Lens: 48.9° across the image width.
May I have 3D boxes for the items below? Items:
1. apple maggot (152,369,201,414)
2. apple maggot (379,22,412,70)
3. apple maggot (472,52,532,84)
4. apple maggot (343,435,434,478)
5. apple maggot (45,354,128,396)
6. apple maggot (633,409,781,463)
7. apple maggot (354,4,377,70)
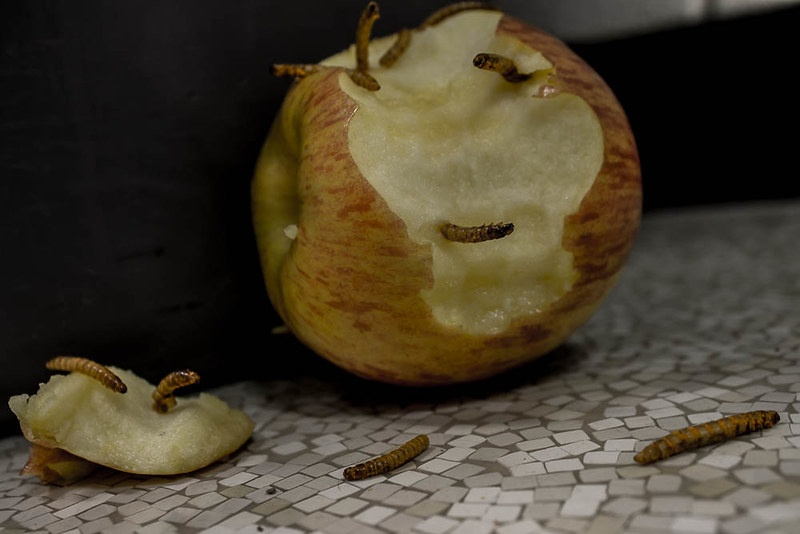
[{"bbox_3d":[-0.697,0.379,2.694,0.067,0.078,0.258,-15,-18,-47],"label":"apple maggot"},{"bbox_3d":[-0.006,-0.760,3.021,0.064,0.050,0.196,12,44,20],"label":"apple maggot"},{"bbox_3d":[0.325,-0.616,2.719,0.048,0.067,0.218,-15,-11,29],"label":"apple maggot"},{"bbox_3d":[-0.027,0.559,2.548,0.281,0.046,0.056,-16,19,-23],"label":"apple maggot"},{"bbox_3d":[-0.964,0.311,2.706,0.283,0.075,0.061,18,20,10],"label":"apple maggot"},{"bbox_3d":[0.873,0.466,2.472,0.450,0.078,0.073,-13,19,-11],"label":"apple maggot"},{"bbox_3d":[-0.119,-0.789,3.028,0.089,0.076,0.306,-11,-10,0],"label":"apple maggot"}]
